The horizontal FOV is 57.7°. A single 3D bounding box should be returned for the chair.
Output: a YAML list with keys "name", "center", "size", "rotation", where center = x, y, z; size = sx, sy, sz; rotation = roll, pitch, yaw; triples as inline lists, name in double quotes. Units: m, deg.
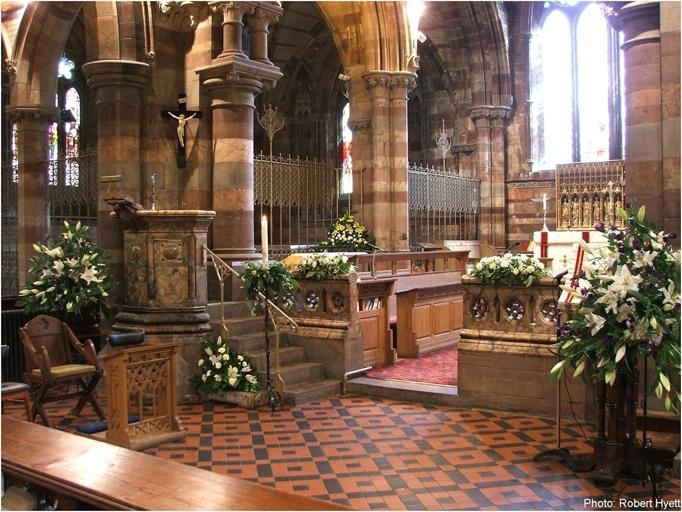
- name: "chair"
  center: [-3.442, 1.357, 7.676]
  size: [0.817, 1.357, 1.810]
  rotation: [-4, 7, -23]

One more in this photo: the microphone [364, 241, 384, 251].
- name: "microphone"
  center: [0.689, -0.212, 13.598]
  size: [0.420, 0.151, 0.073]
  rotation: [22, 6, 21]

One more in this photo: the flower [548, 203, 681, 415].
- name: "flower"
  center: [2.525, 0.437, 5.445]
  size: [0.887, 1.739, 1.202]
  rotation: [-5, 7, -34]

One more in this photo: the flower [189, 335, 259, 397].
- name: "flower"
  center: [-1.554, 1.523, 8.190]
  size: [0.779, 0.465, 0.695]
  rotation: [21, 10, 35]

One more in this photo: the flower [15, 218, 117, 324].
- name: "flower"
  center: [-3.693, 0.271, 8.421]
  size: [1.125, 1.500, 1.759]
  rotation: [-4, 6, -21]

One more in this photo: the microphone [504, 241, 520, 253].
- name: "microphone"
  center: [3.570, -0.186, 12.962]
  size: [0.385, 0.113, 0.141]
  rotation: [-31, -21, -19]

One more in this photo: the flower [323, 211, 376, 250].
- name: "flower"
  center: [0.132, -0.515, 13.931]
  size: [0.951, 0.834, 0.888]
  rotation: [0, 0, -7]

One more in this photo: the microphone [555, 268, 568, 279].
- name: "microphone"
  center: [2.519, 0.204, 7.058]
  size: [0.120, 0.035, 0.136]
  rotation: [-25, -5, 23]

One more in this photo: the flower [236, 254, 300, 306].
- name: "flower"
  center: [-0.984, 0.292, 8.018]
  size: [0.640, 0.571, 0.637]
  rotation: [-11, -12, 10]
